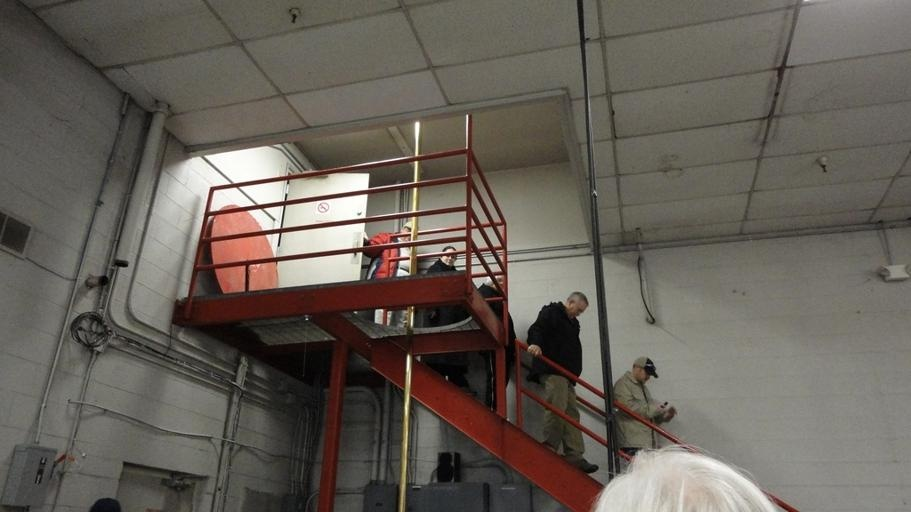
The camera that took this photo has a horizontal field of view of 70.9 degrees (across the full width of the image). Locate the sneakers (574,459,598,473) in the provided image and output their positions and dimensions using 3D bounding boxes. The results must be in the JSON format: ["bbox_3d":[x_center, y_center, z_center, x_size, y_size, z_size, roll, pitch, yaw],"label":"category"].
[{"bbox_3d":[1.790,2.732,8.325,0.439,0.176,0.171,-17,-39,42],"label":"sneakers"}]

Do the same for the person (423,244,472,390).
[{"bbox_3d":[-0.108,0.842,9.339,0.959,1.934,0.654,5,-15,-42],"label":"person"}]

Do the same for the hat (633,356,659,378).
[{"bbox_3d":[2.628,1.542,8.873,0.372,0.185,0.236,26,-5,16],"label":"hat"}]
